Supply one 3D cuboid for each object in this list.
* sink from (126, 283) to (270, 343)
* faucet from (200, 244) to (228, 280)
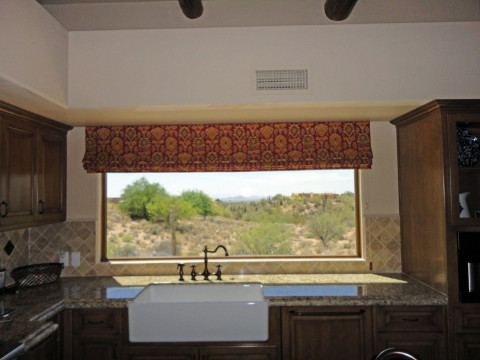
[{"bbox_3d":[-0.343,1.164,4.454,1.150,0.418,0.573,0,11,1],"label":"sink"},{"bbox_3d":[-0.247,0.766,4.924,0.263,0.362,0.520,-1,11,-1],"label":"faucet"}]
